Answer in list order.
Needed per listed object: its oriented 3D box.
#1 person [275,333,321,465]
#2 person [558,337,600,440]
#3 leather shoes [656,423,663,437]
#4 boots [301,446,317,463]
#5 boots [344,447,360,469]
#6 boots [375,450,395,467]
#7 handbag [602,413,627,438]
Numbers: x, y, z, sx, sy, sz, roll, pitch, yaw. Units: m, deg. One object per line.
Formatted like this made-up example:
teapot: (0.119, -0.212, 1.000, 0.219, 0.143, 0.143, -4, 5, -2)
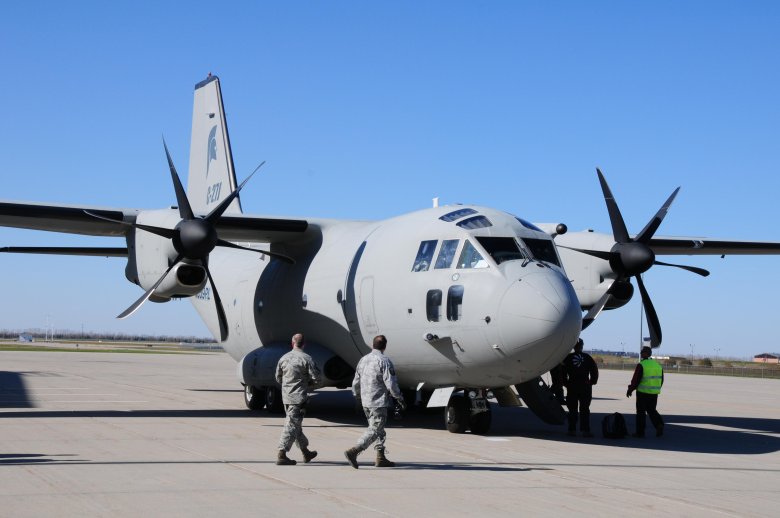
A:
person: (-1.672, 2.496, 13.390, 0.825, 2.246, 0.842, 4, -5, -4)
person: (4.190, 2.902, 16.730, 0.752, 2.116, 0.640, 3, -5, 12)
leather shoes: (6.107, 3.870, 16.904, 0.149, 0.336, 0.162, 3, 0, 13)
boots: (-1.471, 3.491, 13.341, 0.260, 0.261, 0.387, 4, -5, -6)
boots: (-0.676, 3.411, 12.823, 0.267, 0.383, 0.419, 4, -5, -2)
boots: (-0.098, 3.481, 13.049, 0.336, 0.282, 0.211, 4, -5, -10)
handbag: (4.830, 3.741, 16.719, 0.554, 0.625, 0.648, 2, -10, -3)
